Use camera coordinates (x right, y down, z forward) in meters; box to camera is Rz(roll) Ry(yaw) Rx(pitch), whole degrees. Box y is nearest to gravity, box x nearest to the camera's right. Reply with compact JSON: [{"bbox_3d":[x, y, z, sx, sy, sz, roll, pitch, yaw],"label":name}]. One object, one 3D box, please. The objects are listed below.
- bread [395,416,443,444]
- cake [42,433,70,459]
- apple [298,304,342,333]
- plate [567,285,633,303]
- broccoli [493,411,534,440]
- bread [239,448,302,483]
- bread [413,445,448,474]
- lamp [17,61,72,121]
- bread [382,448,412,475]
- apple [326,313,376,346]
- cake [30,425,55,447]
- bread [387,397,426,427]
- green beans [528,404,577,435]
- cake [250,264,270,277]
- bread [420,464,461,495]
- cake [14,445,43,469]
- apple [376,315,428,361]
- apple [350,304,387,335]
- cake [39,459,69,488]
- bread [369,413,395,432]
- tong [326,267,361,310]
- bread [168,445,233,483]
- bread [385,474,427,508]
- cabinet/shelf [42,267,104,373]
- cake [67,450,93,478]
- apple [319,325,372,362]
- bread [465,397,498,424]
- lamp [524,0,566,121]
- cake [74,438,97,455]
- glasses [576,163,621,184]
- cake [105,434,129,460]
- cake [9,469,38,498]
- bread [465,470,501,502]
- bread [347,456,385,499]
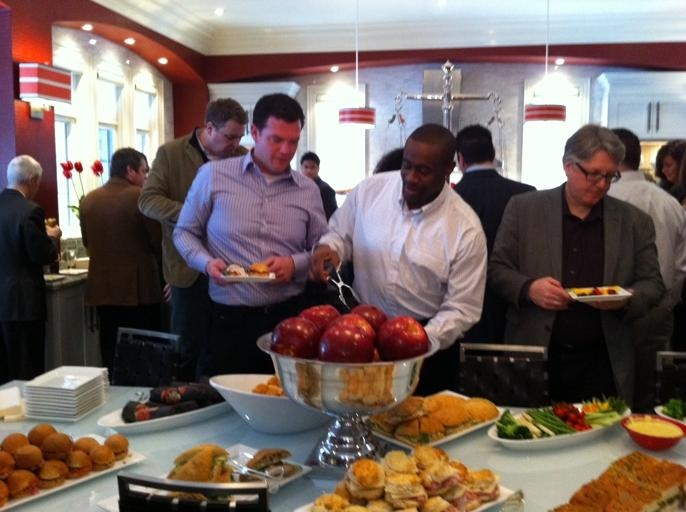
[{"bbox_3d":[0.248,0.529,1.742,0.089,0.032,0.093,-1,-2,37],"label":"bread"},{"bbox_3d":[-0.825,0.550,1.603,0.066,0.057,0.069,1,-5,0],"label":"cake"},{"bbox_3d":[-0.070,0.181,1.705,0.081,0.085,0.085,-5,12,39],"label":"apple"},{"bbox_3d":[1.079,0.166,2.360,0.286,0.069,0.183,-1,5,-19],"label":"plate"},{"bbox_3d":[0.538,0.545,1.760,0.076,0.040,0.074,-4,28,-20],"label":"broccoli"},{"bbox_3d":[-0.209,0.600,1.585,0.101,0.034,0.095,3,0,3],"label":"bread"},{"bbox_3d":[0.236,0.540,1.485,0.059,0.020,0.061,9,11,39],"label":"bread"},{"bbox_3d":[-2.577,-1.423,4.823,0.279,0.435,0.348,2,5,16],"label":"lamp"},{"bbox_3d":[0.141,0.541,1.458,0.064,0.023,0.069,0,17,5],"label":"bread"},{"bbox_3d":[0.035,0.197,1.541,0.089,0.104,0.089,4,-5,1],"label":"apple"},{"bbox_3d":[-0.889,0.525,1.662,0.062,0.052,0.064,1,4,12],"label":"cake"},{"bbox_3d":[0.199,0.483,1.776,0.100,0.032,0.096,-26,-3,1],"label":"bread"},{"bbox_3d":[0.668,0.528,1.803,0.067,0.023,0.096,-14,15,-33],"label":"green beans"},{"bbox_3d":[-0.347,0.057,2.301,0.055,0.033,0.056,9,0,41],"label":"cake"},{"bbox_3d":[0.246,0.563,1.441,0.082,0.045,0.083,-28,12,-7],"label":"bread"},{"bbox_3d":[-0.882,0.567,1.560,0.062,0.047,0.062,4,-3,-17],"label":"cake"},{"bbox_3d":[0.160,0.226,1.536,0.117,0.120,0.120,7,28,-3],"label":"apple"},{"bbox_3d":[0.079,0.189,1.673,0.080,0.082,0.080,4,-8,-19],"label":"apple"},{"bbox_3d":[-0.817,0.614,1.574,0.067,0.053,0.069,1,3,37],"label":"cake"},{"bbox_3d":[0.122,0.527,1.771,0.055,0.058,0.018,-14,-38,8],"label":"bread"},{"bbox_3d":[0.010,0.161,2.463,0.078,0.037,0.265,-22,20,-4],"label":"tong"},{"bbox_3d":[-0.385,0.557,1.485,0.115,0.062,0.116,2,1,-7],"label":"bread"},{"bbox_3d":[0.155,0.585,1.371,0.080,0.043,0.082,-1,13,7],"label":"bread"},{"bbox_3d":[-2.109,0.470,4.307,0.306,0.781,0.820,-1,-1,6],"label":"cabinet/shelf"},{"bbox_3d":[-0.764,0.607,1.614,0.061,0.069,0.031,0,5,-3],"label":"cake"},{"bbox_3d":[0.016,0.248,1.512,0.154,0.130,0.148,-3,1,2],"label":"apple"},{"bbox_3d":[0.467,0.513,1.876,0.080,0.027,0.074,-9,17,-43],"label":"bread"},{"bbox_3d":[2.443,-2.248,6.622,0.395,1.500,1.806,3,5,21],"label":"lamp"},{"bbox_3d":[-0.770,0.561,1.656,0.042,0.028,0.048,11,1,1],"label":"cake"},{"bbox_3d":[1.116,-0.372,2.468,0.166,0.093,0.063,2,5,15],"label":"glasses"},{"bbox_3d":[-0.672,0.570,1.671,0.065,0.055,0.067,1,-3,1],"label":"cake"},{"bbox_3d":[-0.884,0.628,1.532,0.052,0.067,0.068,-34,-16,8],"label":"cake"},{"bbox_3d":[0.373,0.611,1.481,0.082,0.066,0.034,-1,2,17],"label":"bread"},{"bbox_3d":[0.055,0.541,1.384,0.082,0.056,0.085,-1,-2,30],"label":"bread"}]
